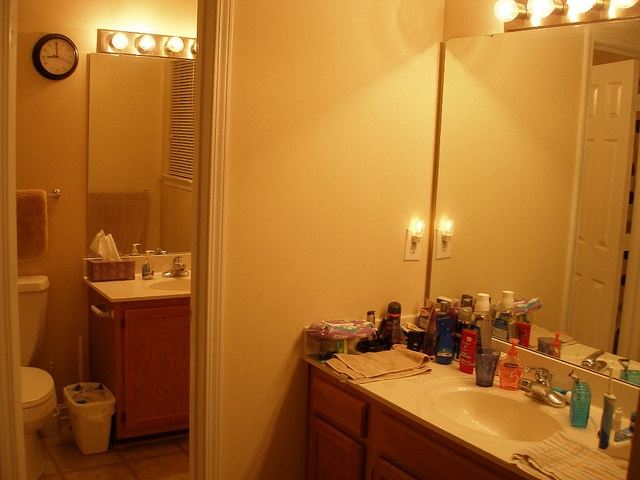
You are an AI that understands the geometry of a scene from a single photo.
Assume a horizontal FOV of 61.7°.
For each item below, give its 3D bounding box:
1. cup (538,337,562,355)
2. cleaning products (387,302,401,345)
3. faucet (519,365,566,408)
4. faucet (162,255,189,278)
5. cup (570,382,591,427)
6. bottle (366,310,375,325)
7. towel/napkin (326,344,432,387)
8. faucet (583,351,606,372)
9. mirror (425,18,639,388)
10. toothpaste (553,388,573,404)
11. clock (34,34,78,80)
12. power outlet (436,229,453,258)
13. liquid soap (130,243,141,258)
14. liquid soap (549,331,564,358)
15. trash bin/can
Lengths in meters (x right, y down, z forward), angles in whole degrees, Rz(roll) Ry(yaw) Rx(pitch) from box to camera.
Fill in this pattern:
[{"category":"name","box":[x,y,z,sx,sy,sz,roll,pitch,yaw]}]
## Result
[{"category":"cup","box":[0.968,0.441,2.261,0.072,0.084,0.063,7,2,6]},{"category":"cleaning products","box":[0.362,0.391,2.570,0.085,0.194,0.053,-1,6,-26]},{"category":"faucet","box":[0.853,0.574,2.145,0.072,0.128,0.226,-1,3,-23]},{"category":"faucet","box":[-0.976,0.178,3.653,0.102,0.131,0.186,3,0,25]},{"category":"cup","box":[0.967,0.606,1.991,0.066,0.148,0.105,5,7,27]},{"category":"bottle","box":[0.240,0.364,2.544,0.046,0.059,0.120,2,6,7]},{"category":"towel/napkin","box":[0.252,0.534,2.335,0.438,0.076,0.225,-1,7,-26]},{"category":"faucet","box":[1.088,0.481,2.124,0.077,0.064,0.049,1,-2,-35]},{"category":"mirror","box":[0.901,-0.279,2.364,0.081,1.269,0.879,-4,8,-42]},{"category":"toothpaste","box":[0.948,0.605,2.096,0.036,0.035,0.084,-4,22,-6]},{"category":"clock","box":[-1.669,-1.162,3.388,0.262,0.351,0.035,-2,-22,-21]},{"category":"power outlet","box":[0.618,0.014,2.664,0.074,0.150,0.068,3,0,0]},{"category":"liquid soap","box":[-1.245,0.058,3.649,0.070,0.121,0.073,3,-2,-14]},{"category":"liquid soap","box":[0.987,0.434,2.236,0.023,0.102,0.045,-4,8,-43]},{"category":"trash bin/can","box":[-1.440,1.062,3.344,0.309,0.398,0.450,-2,6,-29]}]
